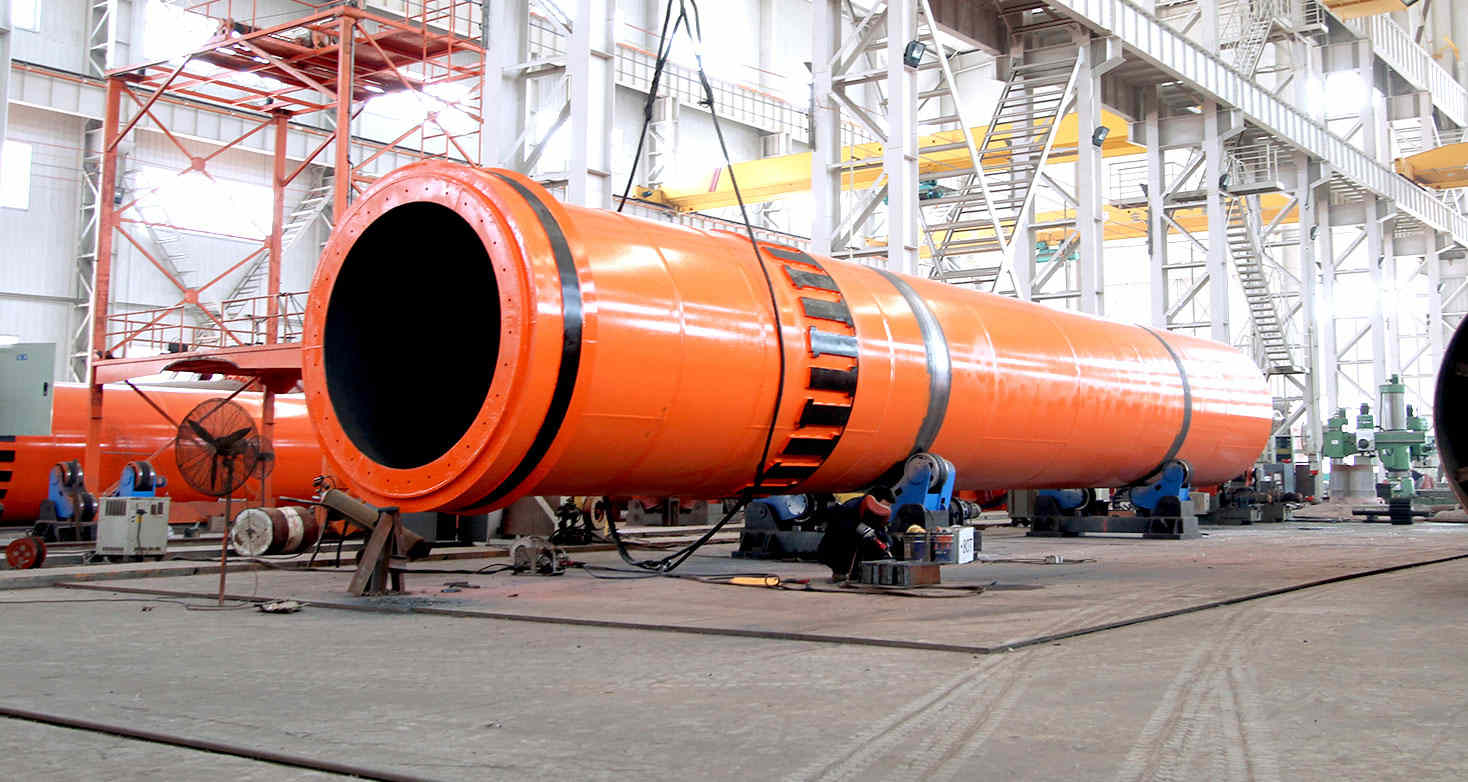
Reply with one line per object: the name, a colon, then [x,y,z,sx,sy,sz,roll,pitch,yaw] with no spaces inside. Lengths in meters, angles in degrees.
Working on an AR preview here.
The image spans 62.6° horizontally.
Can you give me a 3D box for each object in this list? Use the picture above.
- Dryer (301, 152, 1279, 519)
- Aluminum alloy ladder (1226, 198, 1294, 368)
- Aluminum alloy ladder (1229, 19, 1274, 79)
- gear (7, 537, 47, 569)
Dryer: [3.085,-0.479,22.042,19.640,4.072,5.319,3,16,-31]
Aluminum alloy ladder: [17.399,-3.394,40.282,2.736,6.552,2.363,1,2,24]
Aluminum alloy ladder: [17.893,-12.055,41.902,1.060,1.920,2.017,5,12,20]
gear: [-11.918,2.693,20.252,0.720,0.510,0.395,2,12,6]
